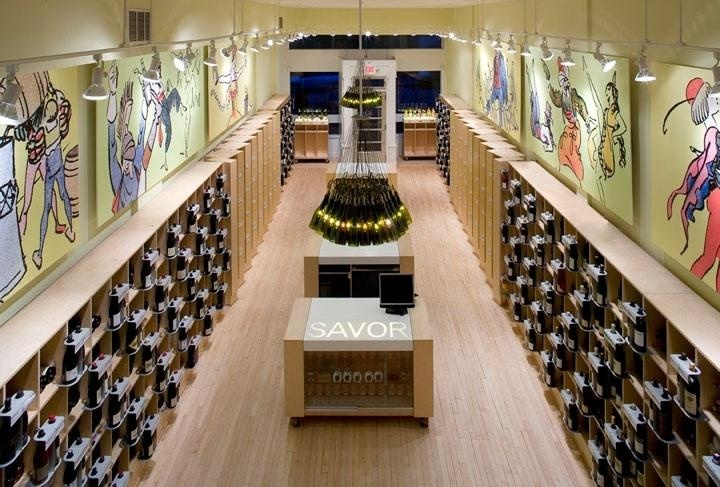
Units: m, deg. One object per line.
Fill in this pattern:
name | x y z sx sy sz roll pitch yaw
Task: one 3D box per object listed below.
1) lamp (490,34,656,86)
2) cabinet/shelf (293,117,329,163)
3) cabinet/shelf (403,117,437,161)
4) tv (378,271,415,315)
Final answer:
lamp | 2.589 -2.120 6.594 0.333 0.367 2.138 -20 22 -23
cabinet/shelf | -1.819 -3.835 20.849 1.258 1.722 0.948 -2 -7 7
cabinet/shelf | 2.311 -3.880 20.791 1.230 1.661 0.481 0 -17 7
tv | 0.523 0.597 7.499 0.478 0.592 0.208 -1 27 6
